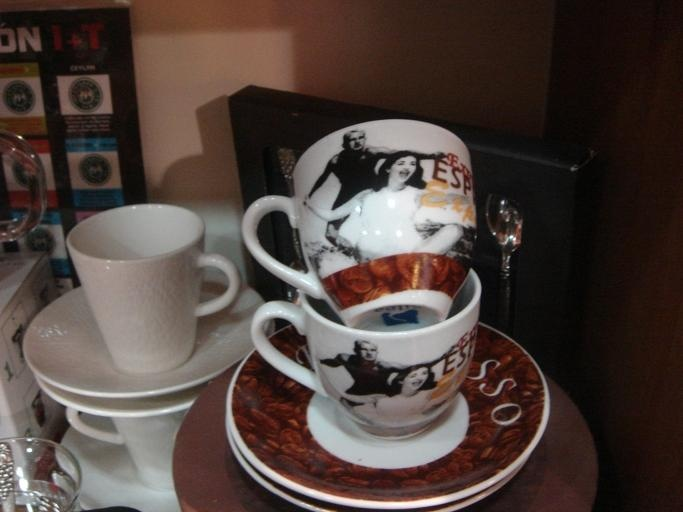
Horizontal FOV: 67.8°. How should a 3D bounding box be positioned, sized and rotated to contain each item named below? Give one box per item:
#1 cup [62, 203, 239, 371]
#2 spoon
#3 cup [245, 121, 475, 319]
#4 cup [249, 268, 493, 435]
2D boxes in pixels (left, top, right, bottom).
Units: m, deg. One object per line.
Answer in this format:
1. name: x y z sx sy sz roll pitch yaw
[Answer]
1. cup: -0.201 0.032 0.542 0.141 0.148 0.134 1 20 0
2. spoon: 0.148 0.012 0.456 0.029 0.021 0.163 15 50 6
3. cup: 0.011 -0.010 0.405 0.176 0.131 0.136 -4 -16 0
4. cup: 0.016 0.082 0.429 0.180 0.108 0.134 -2 18 -5
